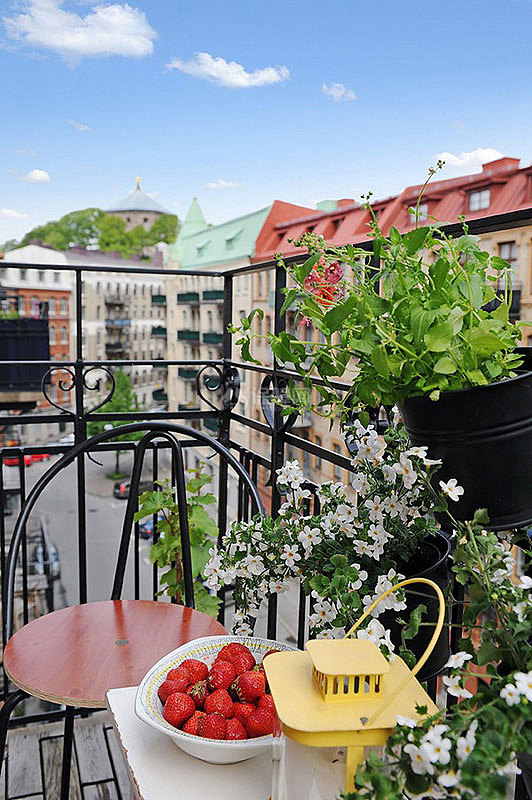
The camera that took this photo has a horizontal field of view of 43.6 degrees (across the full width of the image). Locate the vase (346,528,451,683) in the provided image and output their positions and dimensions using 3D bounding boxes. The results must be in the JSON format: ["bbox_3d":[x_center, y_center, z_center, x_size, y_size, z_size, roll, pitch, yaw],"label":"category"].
[{"bbox_3d":[0.149,0.208,0.681,0.073,0.156,0.106,-1,5,-20],"label":"vase"}]

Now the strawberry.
[{"bbox_3d":[-0.043,0.294,0.683,0.108,0.040,0.099,-2,12,-14],"label":"strawberry"}]
